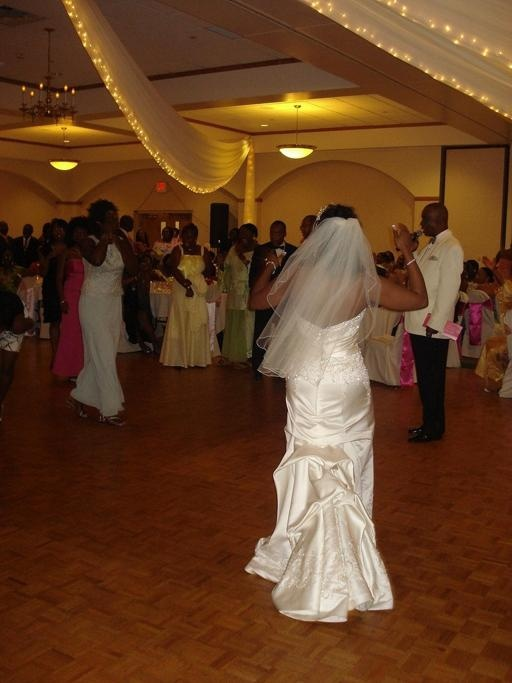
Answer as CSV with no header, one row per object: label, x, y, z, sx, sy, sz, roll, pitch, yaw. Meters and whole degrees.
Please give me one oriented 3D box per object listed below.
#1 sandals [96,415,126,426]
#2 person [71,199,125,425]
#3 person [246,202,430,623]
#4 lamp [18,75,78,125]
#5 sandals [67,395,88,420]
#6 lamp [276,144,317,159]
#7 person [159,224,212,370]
sandals,-1.293,0.700,4.573,0.242,0.091,0.056,6,-26,0
person,-1.349,-0.249,4.491,0.398,1.934,0.375,-1,4,-26
person,0.349,0.189,2.137,0.764,1.570,0.785,1,3,-1
lamp,-3.746,-4.511,9.253,0.718,0.819,0.714,-4,8,13
sandals,-1.645,0.597,4.719,0.248,0.109,0.084,39,19,3
lamp,0.933,-4.321,11.653,0.795,0.192,0.431,1,3,5
person,-0.963,-0.617,7.180,0.739,1.970,0.389,0,3,-11
